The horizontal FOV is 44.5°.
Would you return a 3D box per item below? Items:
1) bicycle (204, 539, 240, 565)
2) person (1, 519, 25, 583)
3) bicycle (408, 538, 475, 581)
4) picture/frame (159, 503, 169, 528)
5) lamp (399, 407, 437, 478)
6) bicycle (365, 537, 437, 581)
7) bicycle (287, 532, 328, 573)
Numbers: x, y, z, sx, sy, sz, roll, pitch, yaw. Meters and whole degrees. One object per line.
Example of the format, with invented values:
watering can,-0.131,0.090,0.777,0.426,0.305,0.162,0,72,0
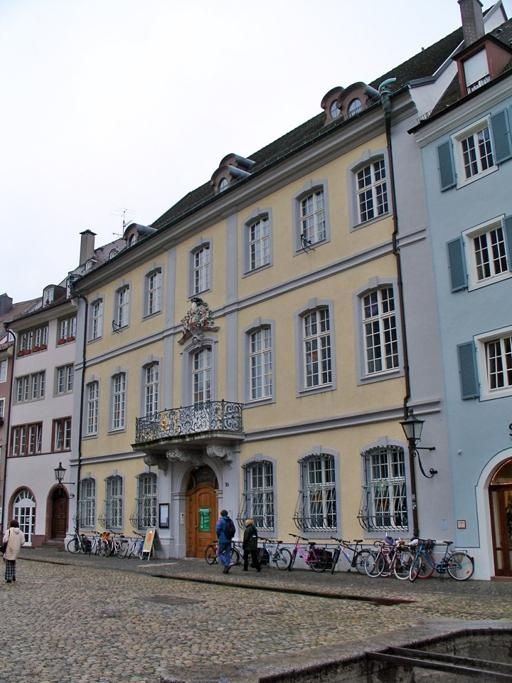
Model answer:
bicycle,-1.173,6.441,19.079,0.695,0.835,1.358,12,-26,-29
person,-5.717,4.910,14.688,0.423,1.375,1.340,5,-18,-18
bicycle,3.906,4.666,13.305,1.334,0.762,0.664,-7,-30,42
picture/frame,-3.351,6.330,22.627,0.156,0.887,0.581,10,-20,-31
lamp,3.646,2.283,14.181,0.672,1.619,1.158,-6,-18,15
bicycle,3.099,4.859,14.026,0.769,0.909,1.535,33,-38,-33
bicycle,1.355,5.597,16.274,0.616,0.716,1.225,15,-20,-34
